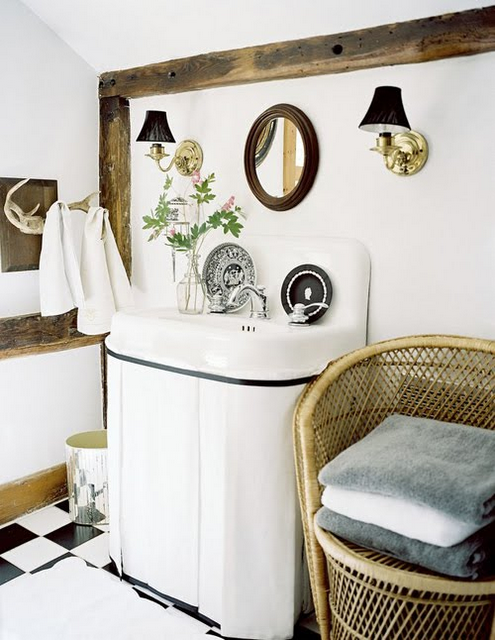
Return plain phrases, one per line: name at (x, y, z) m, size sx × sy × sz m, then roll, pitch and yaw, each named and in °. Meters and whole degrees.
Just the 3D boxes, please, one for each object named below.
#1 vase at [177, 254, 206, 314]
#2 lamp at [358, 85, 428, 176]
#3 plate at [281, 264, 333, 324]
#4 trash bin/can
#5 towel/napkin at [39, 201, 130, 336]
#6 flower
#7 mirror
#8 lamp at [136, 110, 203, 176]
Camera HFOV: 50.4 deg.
vase at (-0.211, -0.133, 1.937) m, size 0.096 × 0.217 × 0.094 m, roll -3°, pitch 4°, yaw -20°
lamp at (0.404, -0.520, 1.468) m, size 0.148 × 0.233 × 0.126 m, roll -5°, pitch 12°, yaw -32°
plate at (0.196, -0.089, 1.769) m, size 0.059 × 0.195 × 0.204 m, roll -4°, pitch 4°, yaw -38°
trash bin/can at (-0.656, 0.655, 2.161) m, size 0.161 × 0.338 × 0.261 m, roll -3°, pitch 3°, yaw -17°
towel/napkin at (-0.704, -0.209, 2.153) m, size 0.274 × 0.532 × 0.377 m, roll 1°, pitch 4°, yaw 37°
flower at (-0.205, -0.334, 2.001) m, size 0.334 × 0.223 × 0.314 m, roll -10°, pitch 2°, yaw -29°
mirror at (0.126, -0.565, 1.812) m, size 0.049 × 0.409 × 0.340 m, roll -4°, pitch -2°, yaw -45°
lamp at (-0.316, -0.670, 2.029) m, size 0.206 × 0.236 × 0.149 m, roll -4°, pitch 14°, yaw -29°
